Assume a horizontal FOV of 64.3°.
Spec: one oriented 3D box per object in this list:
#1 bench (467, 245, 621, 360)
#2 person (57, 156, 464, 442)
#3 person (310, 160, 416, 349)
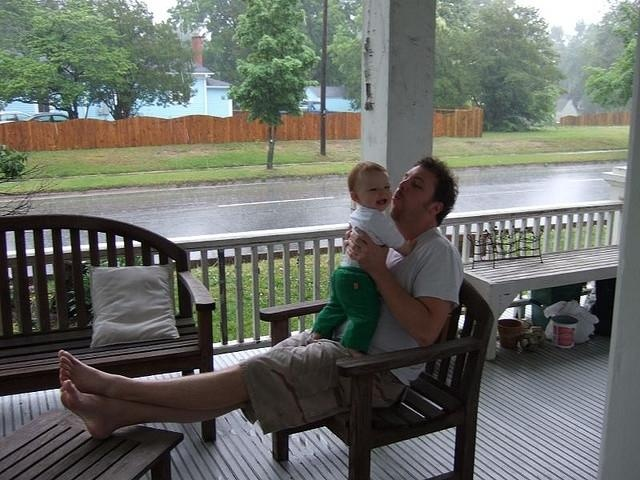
[{"bbox_3d":[1.651,0.471,3.721,0.867,0.317,0.259,-9,28,-18],"label":"bench"},{"bbox_3d":[-0.270,0.286,2.401,1.928,1.096,0.790,-7,5,-8],"label":"person"},{"bbox_3d":[0.260,0.086,2.466,0.480,0.881,0.392,-1,5,-28],"label":"person"}]
